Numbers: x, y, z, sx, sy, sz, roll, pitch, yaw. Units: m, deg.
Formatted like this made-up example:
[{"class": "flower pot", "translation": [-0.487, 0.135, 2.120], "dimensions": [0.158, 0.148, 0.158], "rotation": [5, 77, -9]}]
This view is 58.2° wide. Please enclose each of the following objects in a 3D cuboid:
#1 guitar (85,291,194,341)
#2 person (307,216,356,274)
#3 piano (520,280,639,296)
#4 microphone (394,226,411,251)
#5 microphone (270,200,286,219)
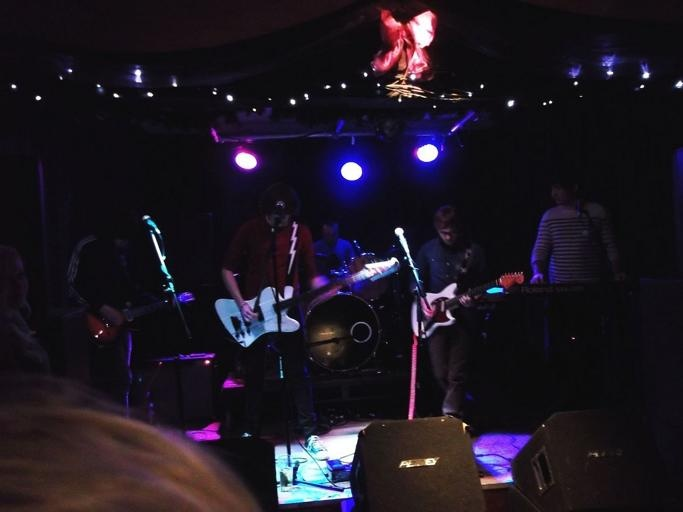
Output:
[{"class": "guitar", "translation": [-1.878, 0.560, 5.637], "dimensions": [0.941, 0.220, 0.459], "rotation": [-21, -5, -23]}, {"class": "person", "translation": [-0.134, -0.108, 6.965], "dimensions": [0.612, 0.827, 0.455], "rotation": [-2, -10, -18]}, {"class": "piano", "translation": [2.195, 0.306, 5.812], "dimensions": [1.132, 0.129, 0.368], "rotation": [-3, -6, 4]}, {"class": "microphone", "translation": [0.668, -0.182, 6.783], "dimensions": [0.121, 0.323, 0.096], "rotation": [-7, -29, -15]}, {"class": "microphone", "translation": [-0.520, -0.381, 5.009], "dimensions": [0.132, 0.155, 0.194], "rotation": [-2, -5, -1]}]
